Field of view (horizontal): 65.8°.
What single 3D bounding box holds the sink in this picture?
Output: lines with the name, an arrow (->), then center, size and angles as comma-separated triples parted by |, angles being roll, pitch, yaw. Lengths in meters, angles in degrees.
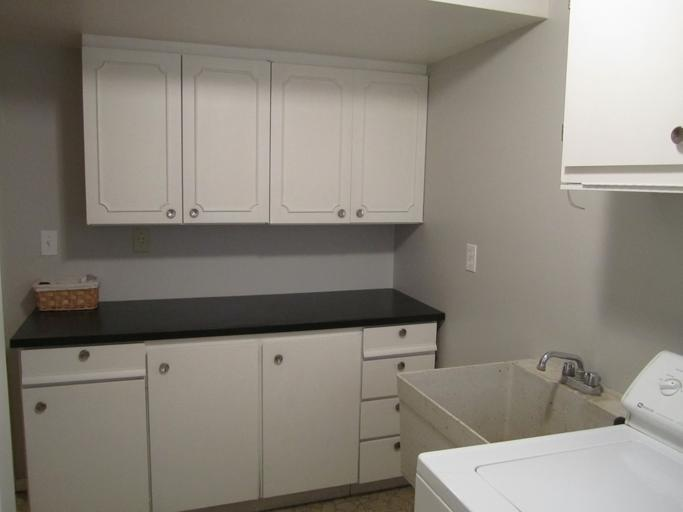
sink -> 0.560, 0.515, 1.907 | 0.418, 0.279, 0.434 | -3, 8, -19

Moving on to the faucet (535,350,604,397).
faucet -> 0.841, 0.413, 1.954 | 0.222, 0.140, 0.161 | 3, -2, -18
